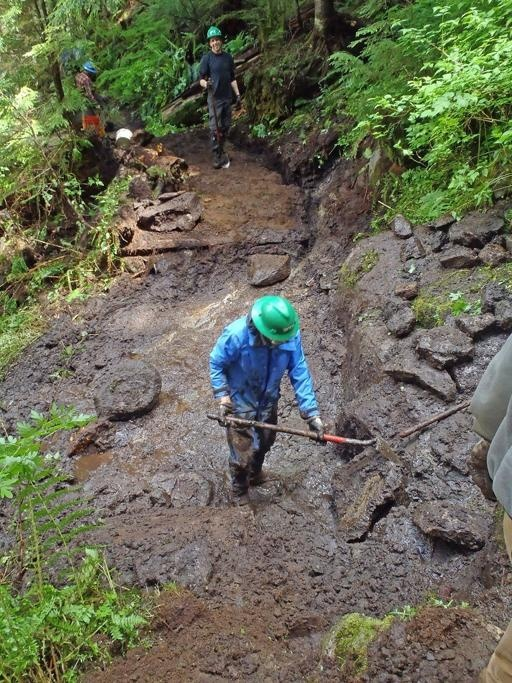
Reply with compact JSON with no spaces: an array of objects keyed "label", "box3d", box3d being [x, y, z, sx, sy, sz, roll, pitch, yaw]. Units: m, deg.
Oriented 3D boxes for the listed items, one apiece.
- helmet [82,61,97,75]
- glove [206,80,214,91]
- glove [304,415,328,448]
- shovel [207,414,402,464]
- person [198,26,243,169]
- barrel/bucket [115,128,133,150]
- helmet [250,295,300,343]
[{"label":"helmet","box3d":[-2.665,-4.353,10.452,0.236,0.083,0.227,-20,57,-36]},{"label":"glove","box3d":[-0.709,-3.941,10.092,0.099,0.155,0.147,0,68,-2]},{"label":"glove","box3d":[0.498,0.717,5.200,0.076,0.213,0.166,-23,2,-42]},{"label":"shovel","box3d":[0.452,0.866,5.720,1.950,0.210,0.273,9,31,15]},{"label":"person","box3d":[-0.578,-3.788,10.356,0.647,2.127,0.868,-12,26,1]},{"label":"barrel/bucket","box3d":[-2.105,-3.212,10.370,0.295,0.257,0.532,-14,25,-6]},{"label":"helmet","box3d":[0.128,-0.190,4.871,0.322,0.185,0.363,-38,76,-24]}]
